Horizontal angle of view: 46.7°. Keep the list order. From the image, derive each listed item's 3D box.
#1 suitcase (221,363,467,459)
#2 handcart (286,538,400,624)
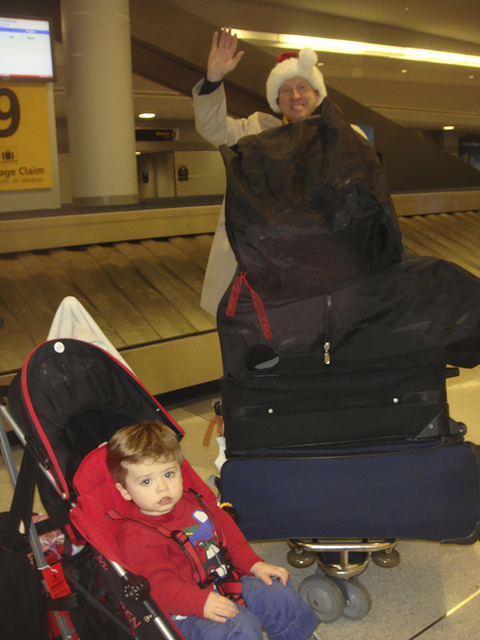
[{"bbox_3d":[0.240,0.225,1.310,0.387,0.108,0.286,-2,-1,-2],"label":"suitcase"},{"bbox_3d":[0.262,0.683,1.501,0.250,0.219,0.267,-8,-20,35],"label":"handcart"}]
